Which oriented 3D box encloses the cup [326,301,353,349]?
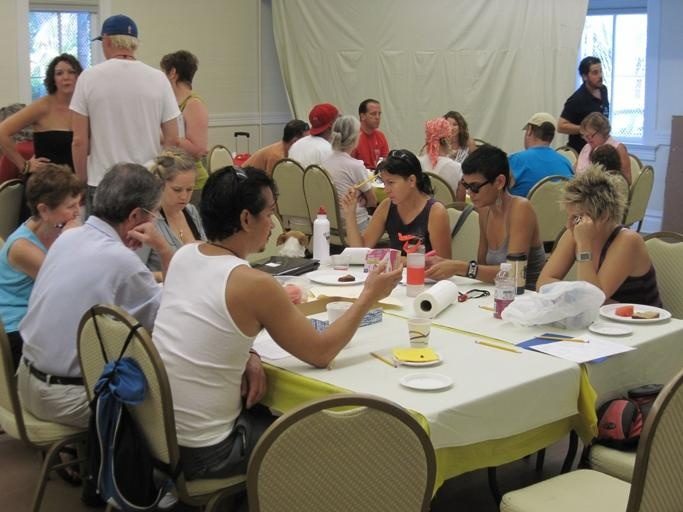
[{"bbox_3d":[-0.013,0.252,2.150,0.105,0.133,0.123,8,21,21],"label":"cup"}]

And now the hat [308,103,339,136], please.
[{"bbox_3d":[-0.167,-1.258,5.345,0.207,0.190,0.324,1,50,34],"label":"hat"}]

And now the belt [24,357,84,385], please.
[{"bbox_3d":[-1.041,0.406,2.132,0.108,0.028,0.115,12,9,15],"label":"belt"}]

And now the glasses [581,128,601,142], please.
[{"bbox_3d":[2.260,-1.103,5.300,0.121,0.061,0.121,-11,10,-19],"label":"glasses"}]

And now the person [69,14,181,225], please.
[{"bbox_3d":[-1.392,-0.591,3.787,0.652,1.794,0.492,-5,19,-32],"label":"person"}]

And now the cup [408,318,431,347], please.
[{"bbox_3d":[0.258,0.256,1.949,0.078,0.091,0.083,-1,2,0],"label":"cup"}]

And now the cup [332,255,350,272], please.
[{"bbox_3d":[-0.009,0.032,2.778,0.061,0.077,0.078,0,-2,3],"label":"cup"}]
